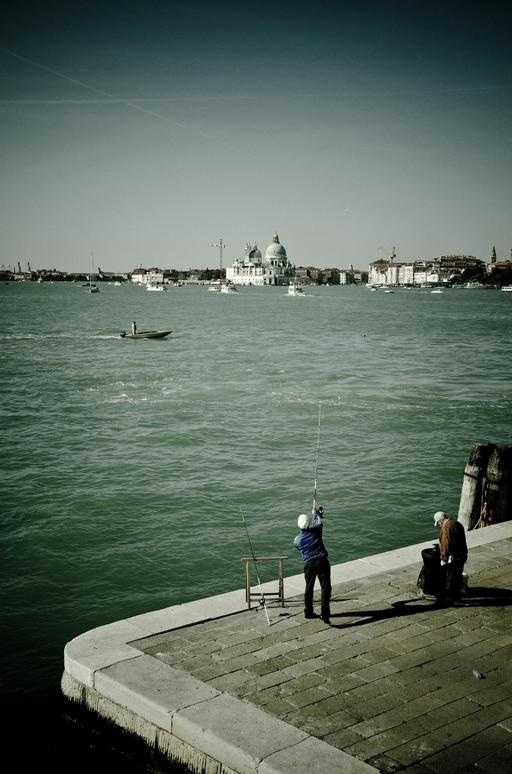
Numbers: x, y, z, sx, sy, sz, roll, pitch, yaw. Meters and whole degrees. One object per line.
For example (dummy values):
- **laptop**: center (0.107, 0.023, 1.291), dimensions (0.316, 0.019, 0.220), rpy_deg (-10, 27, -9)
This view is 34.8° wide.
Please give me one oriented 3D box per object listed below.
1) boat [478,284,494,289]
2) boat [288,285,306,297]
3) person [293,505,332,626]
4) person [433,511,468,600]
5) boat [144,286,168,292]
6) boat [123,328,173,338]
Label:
- **boat**: center (56.762, -24.539, 201.213), dimensions (2.879, 1.289, 7.255), rpy_deg (1, 3, 14)
- **boat**: center (7.723, -18.065, 155.615), dimensions (1.958, 2.136, 6.118), rpy_deg (0, 8, -1)
- **person**: center (0.541, 1.651, 7.752), dimensions (0.328, 0.982, 0.713), rpy_deg (0, 4, 2)
- **person**: center (1.956, 1.692, 8.170), dimensions (0.308, 0.777, 0.417), rpy_deg (1, 4, 11)
- **boat**: center (-26.451, -25.656, 216.230), dimensions (3.599, 1.940, 6.888), rpy_deg (-3, 10, -27)
- **boat**: center (-7.232, -3.284, 52.684), dimensions (2.385, 0.521, 2.096), rpy_deg (-2, 4, -43)
